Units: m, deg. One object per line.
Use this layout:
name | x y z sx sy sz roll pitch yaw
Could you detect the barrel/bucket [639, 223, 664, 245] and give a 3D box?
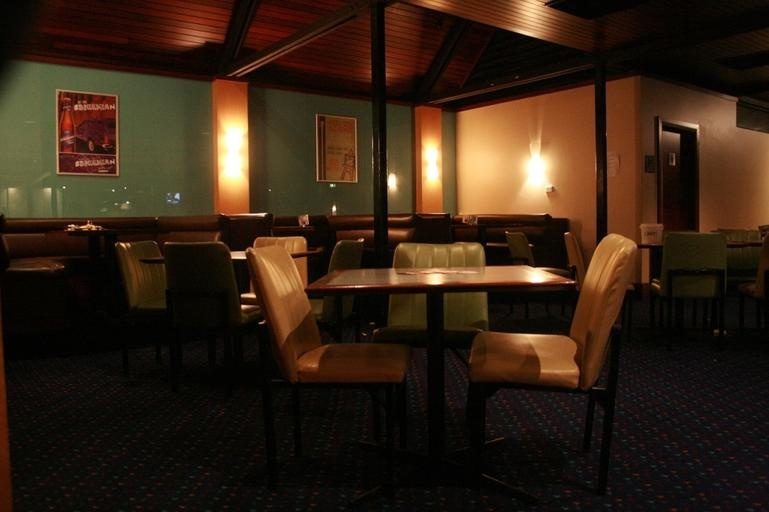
barrel/bucket | 3.278 -0.274 7.348 0.330 0.258 0.333 0 5 0
